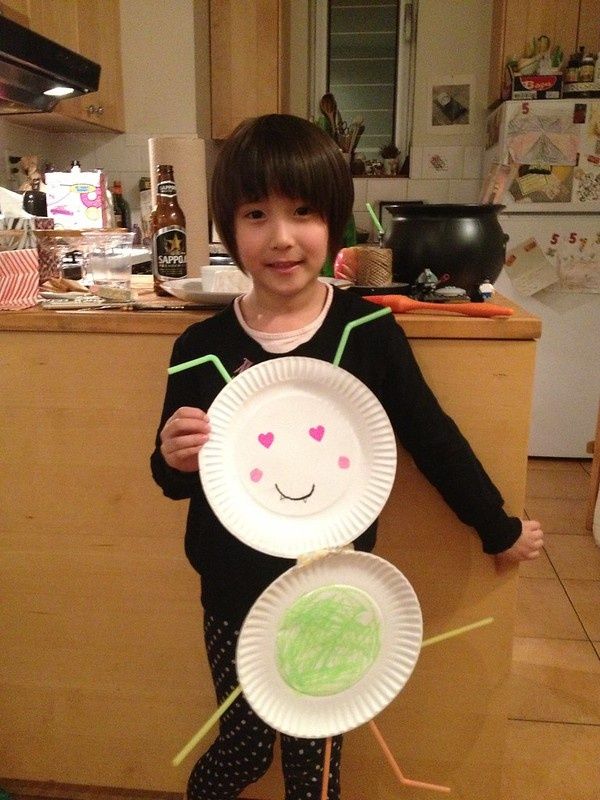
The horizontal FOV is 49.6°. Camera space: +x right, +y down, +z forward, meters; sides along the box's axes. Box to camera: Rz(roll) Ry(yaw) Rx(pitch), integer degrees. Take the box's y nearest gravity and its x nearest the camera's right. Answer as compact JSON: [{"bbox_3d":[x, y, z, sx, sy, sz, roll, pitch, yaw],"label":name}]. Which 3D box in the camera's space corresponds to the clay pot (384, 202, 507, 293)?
[{"bbox_3d":[0.255,-0.265,1.192,0.219,0.171,0.224,-1,14,0],"label":"clay pot"}]

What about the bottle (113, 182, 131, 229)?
[{"bbox_3d":[-0.969,-1.053,3.530,0.081,0.258,0.252,-4,20,-12],"label":"bottle"}]
